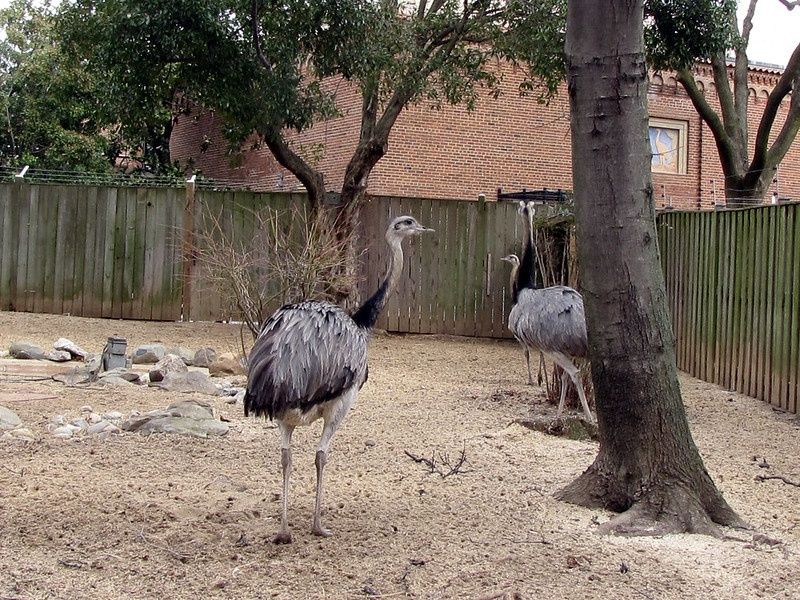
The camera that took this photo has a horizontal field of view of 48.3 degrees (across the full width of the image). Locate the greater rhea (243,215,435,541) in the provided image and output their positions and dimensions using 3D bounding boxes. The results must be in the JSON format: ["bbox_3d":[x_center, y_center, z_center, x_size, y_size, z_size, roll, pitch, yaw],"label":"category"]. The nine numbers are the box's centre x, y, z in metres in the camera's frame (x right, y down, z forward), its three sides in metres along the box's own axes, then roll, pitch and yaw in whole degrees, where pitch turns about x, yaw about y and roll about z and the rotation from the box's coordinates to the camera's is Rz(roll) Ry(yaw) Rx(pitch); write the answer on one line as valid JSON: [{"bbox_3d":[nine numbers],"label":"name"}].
[{"bbox_3d":[-0.595,0.888,7.298,1.321,1.847,0.668,-6,11,-43],"label":"greater rhea"}]
